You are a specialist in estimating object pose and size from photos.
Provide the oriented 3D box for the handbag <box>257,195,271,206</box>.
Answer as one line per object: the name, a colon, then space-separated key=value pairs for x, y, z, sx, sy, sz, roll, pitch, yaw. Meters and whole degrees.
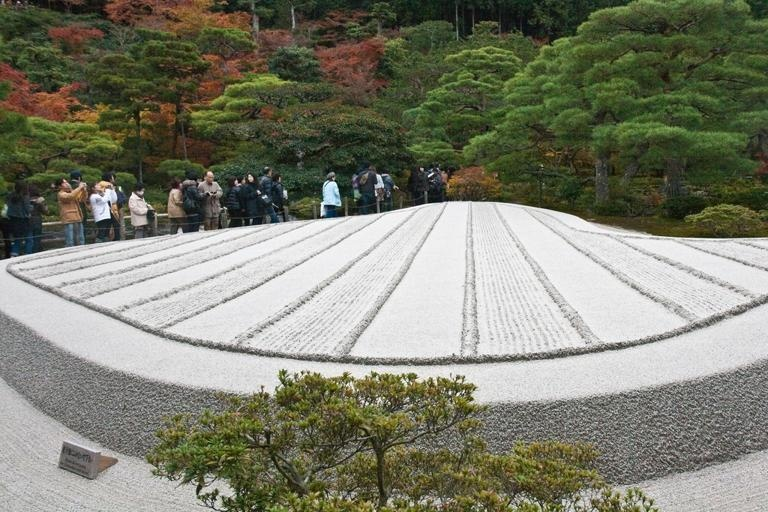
handbag: x=-1.959 y=-0.913 z=11.630 sx=0.075 sy=0.128 sz=0.133 roll=-23 pitch=11 yaw=26

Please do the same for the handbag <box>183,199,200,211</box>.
handbag: x=-2.824 y=-0.753 z=10.605 sx=0.207 sy=0.265 sz=0.141 roll=-3 pitch=-4 yaw=-8

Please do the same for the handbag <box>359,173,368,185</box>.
handbag: x=-0.378 y=-1.471 z=13.600 sx=0.067 sy=0.200 sz=0.144 roll=13 pitch=-4 yaw=4

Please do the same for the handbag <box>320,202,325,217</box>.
handbag: x=-1.100 y=-0.847 z=13.029 sx=0.073 sy=0.257 sz=0.180 roll=-2 pitch=9 yaw=-3
